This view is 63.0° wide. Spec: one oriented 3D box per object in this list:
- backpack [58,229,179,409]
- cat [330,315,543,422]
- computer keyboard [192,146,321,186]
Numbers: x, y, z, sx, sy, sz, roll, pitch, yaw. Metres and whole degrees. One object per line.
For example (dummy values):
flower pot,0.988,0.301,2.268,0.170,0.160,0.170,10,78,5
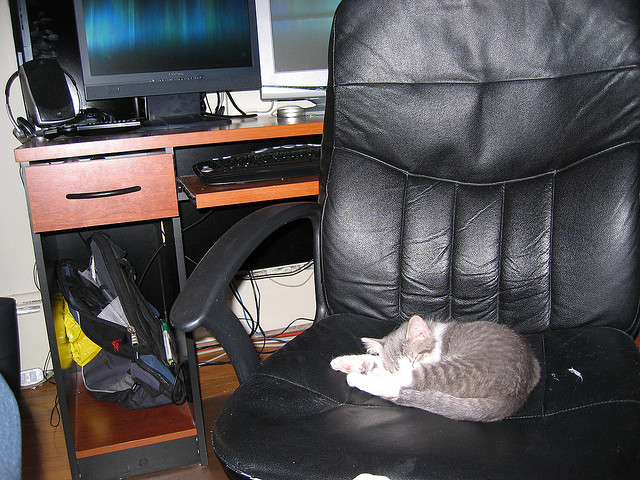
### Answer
backpack,-0.640,0.255,1.673,0.333,0.568,0.261,-5,24,-6
cat,0.256,0.262,1.135,0.393,0.112,0.319,13,28,31
computer keyboard,-0.162,-0.212,1.482,0.429,0.061,0.145,-5,-18,28
